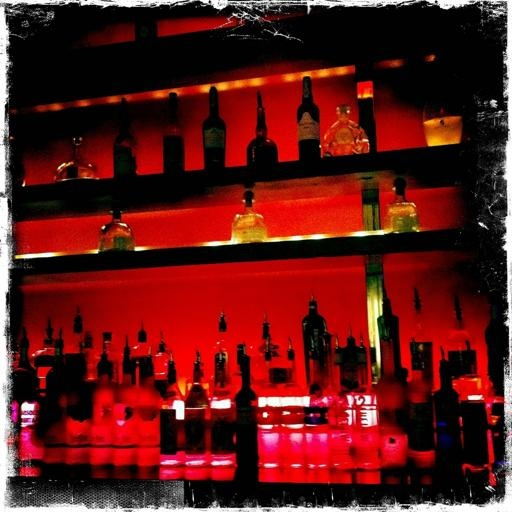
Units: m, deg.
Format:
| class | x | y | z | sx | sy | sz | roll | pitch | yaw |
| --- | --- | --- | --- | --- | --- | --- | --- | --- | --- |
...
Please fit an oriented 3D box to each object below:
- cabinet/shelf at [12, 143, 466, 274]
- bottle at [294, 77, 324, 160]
| class | x | y | z | sx | sy | sz | roll | pitch | yaw |
| --- | --- | --- | --- | --- | --- | --- | --- | --- | --- |
| cabinet/shelf | -0.133 | -0.151 | 2.383 | 1.492 | 0.291 | 0.494 | -4 | 11 | 10 |
| bottle | 0.146 | -0.404 | 2.226 | 0.069 | 0.244 | 0.258 | -6 | 11 | 5 |
